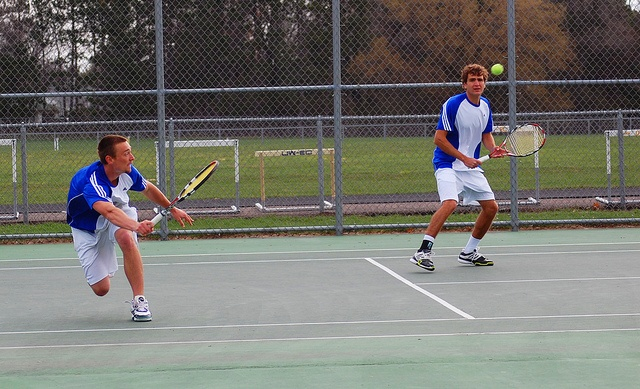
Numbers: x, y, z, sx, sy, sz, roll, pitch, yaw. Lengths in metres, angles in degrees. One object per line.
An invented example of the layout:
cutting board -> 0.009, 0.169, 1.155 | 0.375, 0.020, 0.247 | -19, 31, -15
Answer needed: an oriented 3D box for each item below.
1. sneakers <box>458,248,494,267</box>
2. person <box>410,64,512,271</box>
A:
sneakers -> 2.180, 0.931, 10.078 | 0.548, 0.216, 0.200 | 1, 1, 3
person -> 1.935, -0.387, 9.784 | 0.993, 2.866, 1.189 | -1, 4, 25
